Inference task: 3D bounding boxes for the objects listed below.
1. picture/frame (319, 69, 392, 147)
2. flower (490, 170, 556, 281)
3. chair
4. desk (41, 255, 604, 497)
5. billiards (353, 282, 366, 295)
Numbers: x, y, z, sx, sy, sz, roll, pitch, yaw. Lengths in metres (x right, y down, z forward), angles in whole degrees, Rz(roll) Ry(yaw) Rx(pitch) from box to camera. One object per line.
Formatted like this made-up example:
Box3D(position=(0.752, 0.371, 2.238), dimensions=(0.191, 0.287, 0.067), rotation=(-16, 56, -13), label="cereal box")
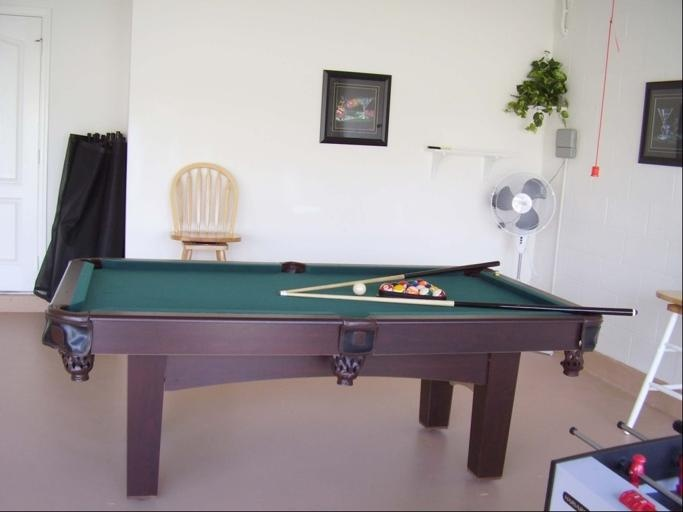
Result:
Box3D(position=(0.132, -1.318, 4.767), dimensions=(0.610, 0.616, 0.051), rotation=(2, 10, -4), label="picture/frame")
Box3D(position=(1.530, -0.135, 4.555), dimensions=(0.491, 1.015, 0.332), rotation=(1, 2, 6), label="flower")
Box3D(position=(-1.168, -0.431, 4.587), dimensions=(0.580, 1.029, 0.537), rotation=(1, 7, -17), label="chair")
Box3D(position=(-0.182, 0.620, 2.744), dimensions=(2.430, 0.969, 0.952), rotation=(1, 14, -9), label="desk")
Box3D(position=(0.091, 0.165, 2.749), dimensions=(0.062, 0.061, 0.036), rotation=(1, -7, 10), label="billiards")
